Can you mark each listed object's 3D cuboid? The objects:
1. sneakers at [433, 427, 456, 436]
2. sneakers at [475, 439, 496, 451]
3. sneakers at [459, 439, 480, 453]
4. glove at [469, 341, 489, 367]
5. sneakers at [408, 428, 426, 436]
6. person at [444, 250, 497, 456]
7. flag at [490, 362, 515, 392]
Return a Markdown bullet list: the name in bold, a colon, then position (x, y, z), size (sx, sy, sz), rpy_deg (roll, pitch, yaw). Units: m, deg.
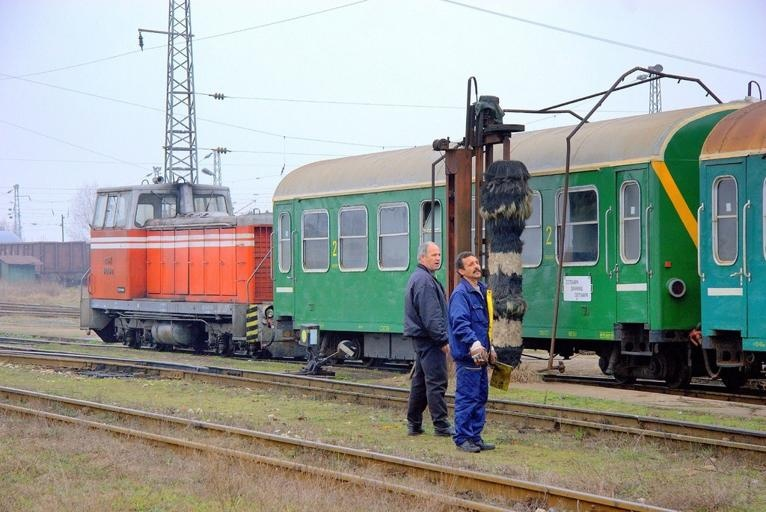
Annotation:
- **sneakers**: position (0.916, 2.575, 11.645), size (0.294, 0.171, 0.120), rpy_deg (-2, 0, -2)
- **sneakers**: position (1.435, 2.639, 11.030), size (0.271, 0.153, 0.110), rpy_deg (-3, -1, -2)
- **sneakers**: position (1.195, 2.613, 10.836), size (0.144, 0.163, 0.286), rpy_deg (3, -7, -36)
- **glove**: position (1.280, 1.315, 10.631), size (0.218, 0.182, 0.318), rpy_deg (2, -6, -5)
- **sneakers**: position (0.519, 2.629, 11.922), size (0.086, 0.138, 0.260), rpy_deg (1, 2, 43)
- **person**: position (1.234, 1.315, 10.834), size (0.628, 2.750, 0.475), rpy_deg (0, -4, 0)
- **flag**: position (1.759, 1.695, 11.075), size (0.087, 0.402, 0.372), rpy_deg (6, 6, -34)
